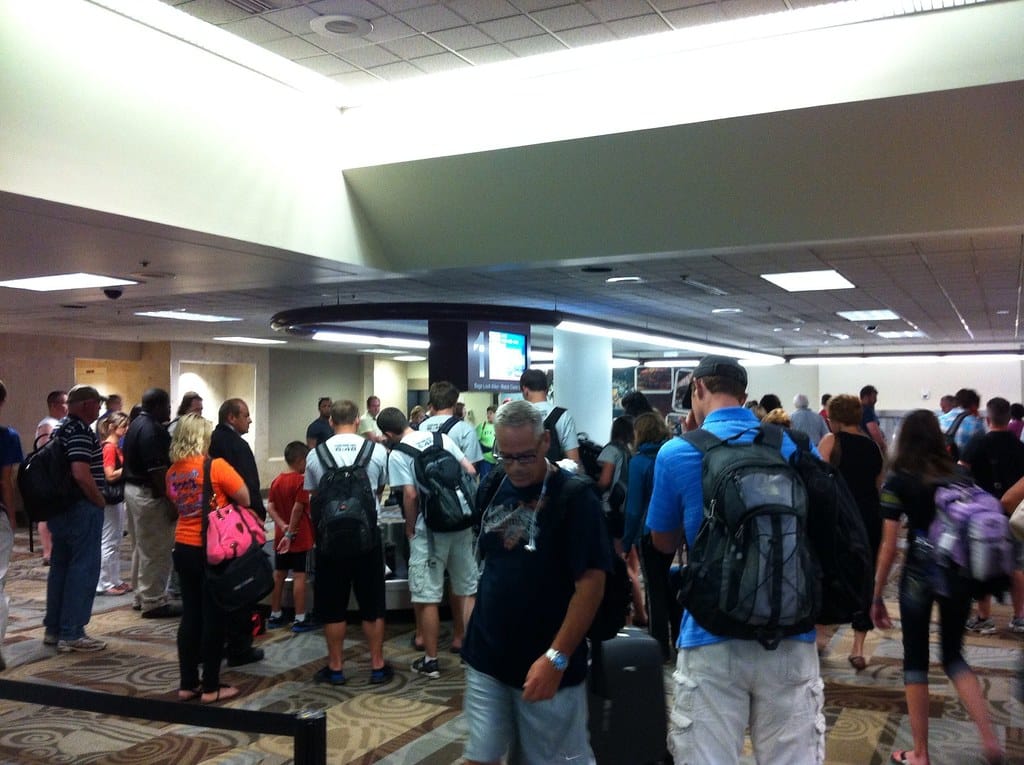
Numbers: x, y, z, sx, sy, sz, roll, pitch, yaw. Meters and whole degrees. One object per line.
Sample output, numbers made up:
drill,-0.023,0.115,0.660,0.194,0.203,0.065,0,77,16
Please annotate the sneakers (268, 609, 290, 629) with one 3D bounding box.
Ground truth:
sneakers,-2.227,2.232,7.233,0.078,0.090,0.207,1,0,11

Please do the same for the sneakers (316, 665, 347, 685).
sneakers,-1.371,2.209,5.783,0.202,0.085,0.107,3,-1,33

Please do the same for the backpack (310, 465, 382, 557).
backpack,-1.234,0.947,5.621,0.482,0.628,0.362,-4,4,-6

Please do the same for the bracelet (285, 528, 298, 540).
bracelet,-1.953,1.338,6.722,0.102,0.028,0.105,-5,7,-10

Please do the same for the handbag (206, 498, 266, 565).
handbag,-2.037,1.081,5.559,0.248,0.374,0.524,-11,-2,19

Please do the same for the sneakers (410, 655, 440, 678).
sneakers,-0.676,2.201,5.964,0.114,0.117,0.262,4,-2,-44

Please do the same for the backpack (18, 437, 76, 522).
backpack,-3.975,0.811,6.549,0.452,0.721,0.286,0,-2,-25

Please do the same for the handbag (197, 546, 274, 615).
handbag,-1.962,1.416,5.506,0.460,0.502,0.235,0,-2,-34

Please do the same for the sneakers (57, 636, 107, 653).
sneakers,-3.685,2.235,6.566,0.363,0.160,0.139,1,-6,-12

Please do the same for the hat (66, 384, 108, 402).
hat,-3.789,0.097,6.819,0.309,0.156,0.220,-6,6,-40
